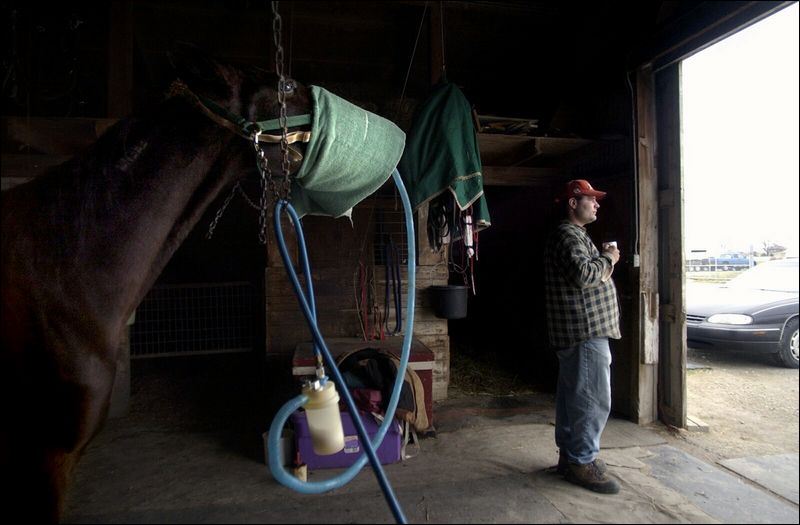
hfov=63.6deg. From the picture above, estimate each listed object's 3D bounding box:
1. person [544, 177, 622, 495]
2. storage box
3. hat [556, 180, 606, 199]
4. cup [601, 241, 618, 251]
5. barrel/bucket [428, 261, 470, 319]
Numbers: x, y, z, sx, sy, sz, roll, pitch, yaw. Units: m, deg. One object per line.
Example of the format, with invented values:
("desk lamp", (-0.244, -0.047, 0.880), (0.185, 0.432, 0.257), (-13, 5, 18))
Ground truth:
("person", (1.529, 0.755, 5.398), (0.584, 2.227, 0.365), (-2, 4, 11))
("storage box", (-0.340, 1.215, 6.031), (1.135, 0.891, 1.159), (-1, -1, -7))
("hat", (1.573, -0.627, 5.537), (0.345, 0.141, 0.223), (-2, 6, 6))
("cup", (1.818, -0.149, 5.603), (0.114, 0.089, 0.120), (1, -3, 0))
("barrel/bucket", (0.534, 0.310, 6.813), (0.392, 0.493, 0.471), (-3, 1, 8))
